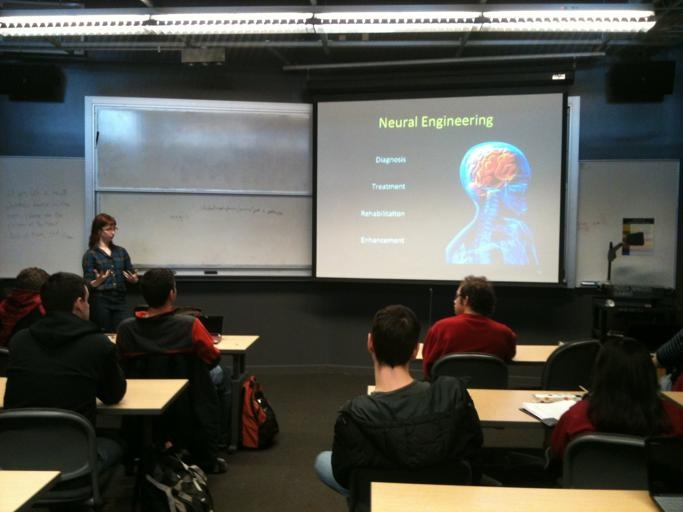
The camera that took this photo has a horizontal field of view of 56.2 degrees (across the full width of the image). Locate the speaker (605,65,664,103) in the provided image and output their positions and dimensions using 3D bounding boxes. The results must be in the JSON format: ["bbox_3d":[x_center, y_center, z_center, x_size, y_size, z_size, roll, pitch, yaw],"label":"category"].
[{"bbox_3d":[3.002,-1.799,6.655,0.623,0.464,0.348,0,1,6],"label":"speaker"}]

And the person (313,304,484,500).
[{"bbox_3d":[0.359,0.890,3.767,0.972,1.235,0.933,-4,7,-26],"label":"person"}]

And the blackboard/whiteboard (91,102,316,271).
[{"bbox_3d":[-1.566,-0.816,6.841,1.664,1.353,0.068,0,0,-7],"label":"blackboard/whiteboard"}]

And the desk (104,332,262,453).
[{"bbox_3d":[-1.204,0.942,5.531,1.074,0.876,0.961,1,10,-4],"label":"desk"}]

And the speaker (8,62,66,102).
[{"bbox_3d":[-3.267,-1.872,6.929,0.555,0.404,0.120,-3,10,-6],"label":"speaker"}]

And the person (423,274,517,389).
[{"bbox_3d":[0.962,0.719,4.926,0.755,1.116,0.525,0,7,-15],"label":"person"}]

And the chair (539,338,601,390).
[{"bbox_3d":[1.594,0.758,4.741,0.309,0.485,0.423,0,7,2],"label":"chair"}]

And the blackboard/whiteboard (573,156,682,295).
[{"bbox_3d":[2.974,-0.281,6.645,1.283,1.743,0.063,2,-2,-3],"label":"blackboard/whiteboard"}]
